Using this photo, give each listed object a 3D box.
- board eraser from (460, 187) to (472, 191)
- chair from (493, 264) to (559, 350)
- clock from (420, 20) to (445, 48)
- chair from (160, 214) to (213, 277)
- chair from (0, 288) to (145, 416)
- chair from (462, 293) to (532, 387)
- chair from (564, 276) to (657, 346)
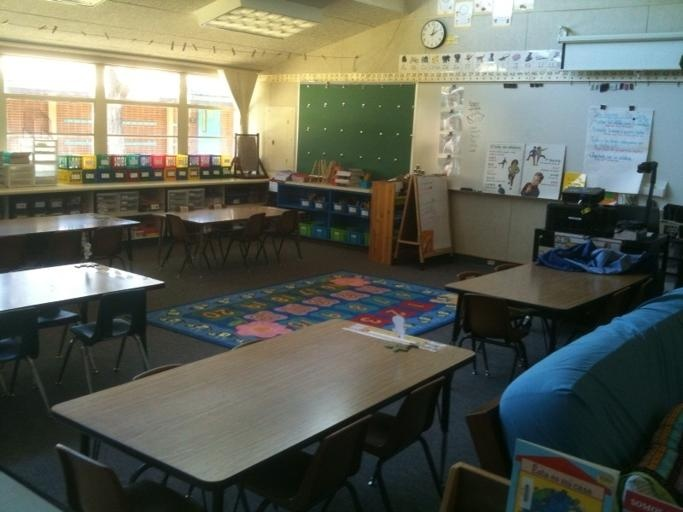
[{"bbox_3d":[2.101,-1.117,8.808,0.144,0.067,0.033,7,12,34],"label":"board eraser"},{"bbox_3d":[1.692,0.452,4.817,0.643,0.379,0.847,10,17,34],"label":"chair"},{"bbox_3d":[1.559,-3.745,8.820,0.559,0.495,0.108,6,5,43],"label":"clock"},{"bbox_3d":[-2.331,-0.248,7.749,0.548,0.603,0.527,21,-14,-37],"label":"chair"},{"bbox_3d":[-2.069,0.736,3.998,0.904,0.544,0.316,-9,27,-43],"label":"chair"},{"bbox_3d":[1.358,0.707,4.609,0.569,0.700,0.550,1,4,41],"label":"chair"},{"bbox_3d":[2.121,0.393,4.111,0.443,0.667,0.475,-16,28,-26],"label":"chair"}]
